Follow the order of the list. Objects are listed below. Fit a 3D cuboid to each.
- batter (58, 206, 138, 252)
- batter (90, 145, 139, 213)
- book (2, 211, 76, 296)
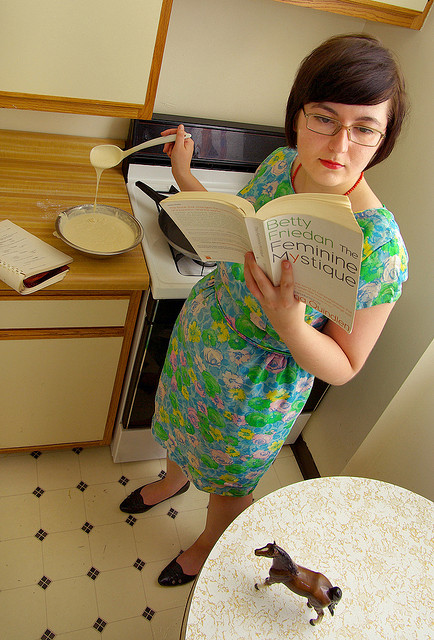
[{"bbox_3d":[-0.344,-0.274,1.314,0.213,0.062,0.219,16,30,11],"label":"batter"},{"bbox_3d":[-0.291,-0.414,1.307,0.113,0.153,0.125,29,38,35],"label":"batter"},{"bbox_3d":[-0.526,-0.168,1.225,0.145,0.063,0.244,-29,59,-32],"label":"book"}]
